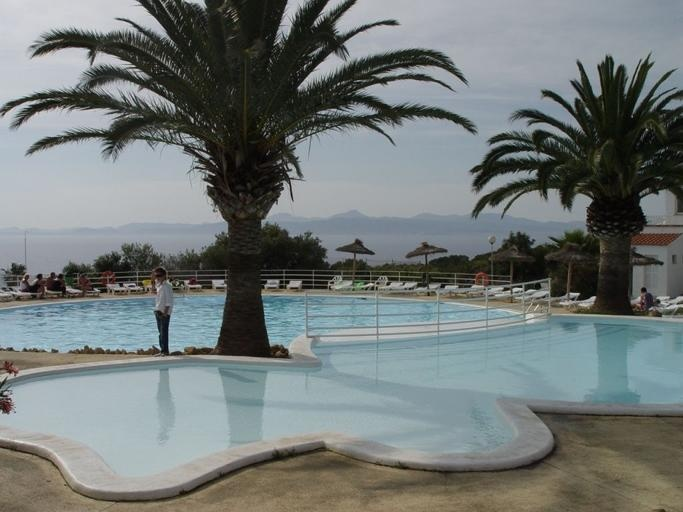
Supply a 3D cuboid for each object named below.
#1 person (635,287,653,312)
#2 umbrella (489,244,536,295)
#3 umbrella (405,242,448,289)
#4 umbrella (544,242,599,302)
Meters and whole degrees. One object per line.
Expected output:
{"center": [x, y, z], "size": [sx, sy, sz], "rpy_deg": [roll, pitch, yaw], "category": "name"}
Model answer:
{"center": [11.271, 1.665, 22.529], "size": [0.532, 0.804, 1.436], "rpy_deg": [-3, -3, 26], "category": "person"}
{"center": [8.997, 0.839, 31.981], "size": [2.391, 2.223, 2.476], "rpy_deg": [0, 4, 3], "category": "umbrella"}
{"center": [4.539, 0.424, 32.485], "size": [2.141, 2.315, 2.210], "rpy_deg": [-1, -6, 4], "category": "umbrella"}
{"center": [12.149, 0.967, 31.742], "size": [2.972, 3.465, 3.058], "rpy_deg": [-3, 6, -23], "category": "umbrella"}
